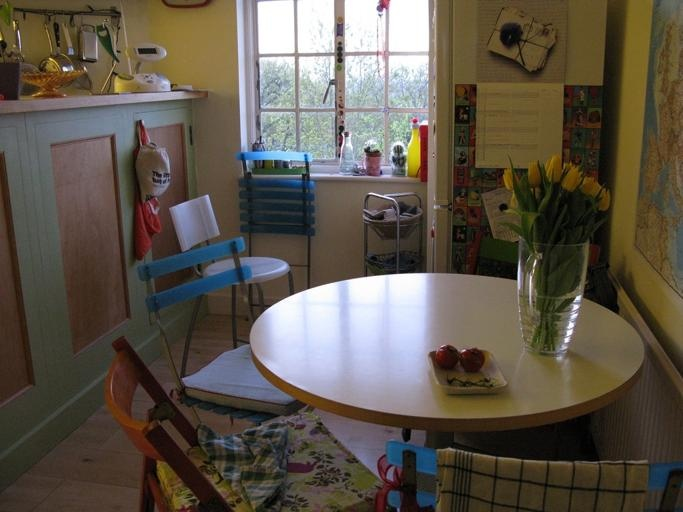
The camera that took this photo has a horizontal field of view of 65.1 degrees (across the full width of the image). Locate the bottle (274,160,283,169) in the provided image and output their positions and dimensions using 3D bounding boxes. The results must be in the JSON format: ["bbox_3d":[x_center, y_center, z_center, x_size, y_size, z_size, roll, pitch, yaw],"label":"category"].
[{"bbox_3d":[-0.494,-0.723,4.225,0.057,0.069,0.058,-10,17,-32],"label":"bottle"}]

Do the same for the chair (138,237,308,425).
[{"bbox_3d":[-0.654,0.369,2.755,0.670,1.046,0.608,14,27,29],"label":"chair"}]

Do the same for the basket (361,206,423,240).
[{"bbox_3d":[0.343,-0.222,3.620,0.244,0.120,0.260,-3,10,-14],"label":"basket"}]

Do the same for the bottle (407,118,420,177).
[{"bbox_3d":[0.562,-0.819,4.038,0.124,0.426,0.133,-2,14,0],"label":"bottle"}]

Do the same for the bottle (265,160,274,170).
[{"bbox_3d":[-0.572,-0.725,4.237,0.063,0.080,0.067,1,15,0],"label":"bottle"}]

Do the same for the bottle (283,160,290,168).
[{"bbox_3d":[-0.436,-0.725,4.236,0.046,0.057,0.048,12,17,38],"label":"bottle"}]

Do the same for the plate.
[{"bbox_3d":[0.360,0.333,1.541,0.200,0.033,0.185,-1,19,2],"label":"plate"}]

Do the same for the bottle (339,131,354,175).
[{"bbox_3d":[0.043,-0.819,4.213,0.126,0.306,0.171,-2,18,0],"label":"bottle"}]

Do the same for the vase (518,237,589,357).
[{"bbox_3d":[0.670,0.114,1.689,0.191,0.335,0.190,-22,26,-39],"label":"vase"}]

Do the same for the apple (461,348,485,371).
[{"bbox_3d":[0.375,0.290,1.546,0.061,0.058,0.061,-1,3,-33],"label":"apple"}]

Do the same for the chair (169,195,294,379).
[{"bbox_3d":[-0.643,0.182,3.324,0.644,1.098,0.652,4,16,20],"label":"chair"}]

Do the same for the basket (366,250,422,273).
[{"bbox_3d":[0.363,0.048,3.728,0.251,0.120,0.203,-7,7,-5],"label":"basket"}]

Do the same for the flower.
[{"bbox_3d":[0.647,-0.014,1.649,0.297,0.594,0.232,5,19,21],"label":"flower"}]

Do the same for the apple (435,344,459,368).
[{"bbox_3d":[0.305,0.292,1.543,0.060,0.067,0.061,1,2,-24],"label":"apple"}]
